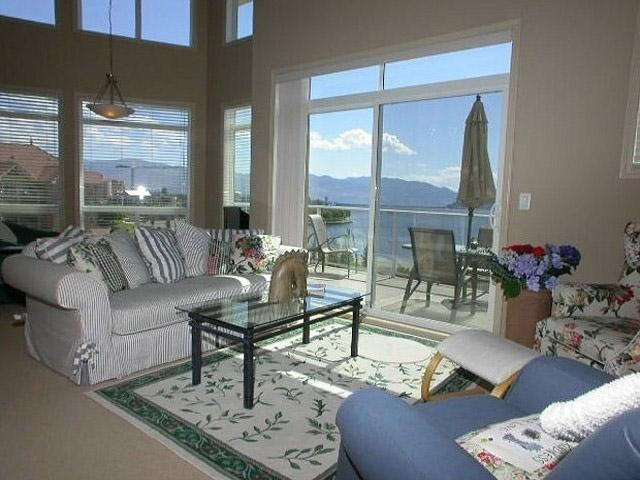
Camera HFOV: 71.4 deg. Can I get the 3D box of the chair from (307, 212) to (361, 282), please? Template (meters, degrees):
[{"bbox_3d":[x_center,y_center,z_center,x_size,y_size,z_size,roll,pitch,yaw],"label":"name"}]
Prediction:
[{"bbox_3d":[0.103,0.080,5.373,0.676,0.919,0.662,3,6,22],"label":"chair"}]

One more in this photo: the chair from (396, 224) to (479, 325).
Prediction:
[{"bbox_3d":[1.234,0.326,4.692,0.739,1.235,0.865,5,6,38],"label":"chair"}]

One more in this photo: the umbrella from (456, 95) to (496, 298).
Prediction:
[{"bbox_3d":[1.522,-0.616,4.353,0.187,1.531,0.383,-5,14,-28],"label":"umbrella"}]
